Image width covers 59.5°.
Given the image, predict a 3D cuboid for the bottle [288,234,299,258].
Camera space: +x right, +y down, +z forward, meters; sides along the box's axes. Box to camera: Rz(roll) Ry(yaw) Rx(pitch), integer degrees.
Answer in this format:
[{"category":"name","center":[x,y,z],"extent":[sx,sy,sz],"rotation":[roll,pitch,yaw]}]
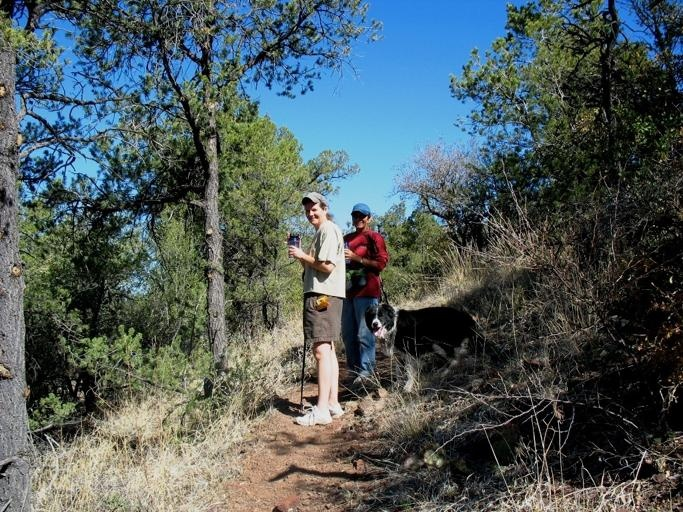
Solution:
[{"category":"bottle","center":[-0.576,-0.124,7.465],"extent":[0.170,0.336,0.208],"rotation":[-4,3,-17]}]

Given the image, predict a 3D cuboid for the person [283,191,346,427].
[{"category":"person","center":[-0.272,0.654,7.611],"extent":[0.657,2.863,0.950],"rotation":[-2,-13,-2]}]
